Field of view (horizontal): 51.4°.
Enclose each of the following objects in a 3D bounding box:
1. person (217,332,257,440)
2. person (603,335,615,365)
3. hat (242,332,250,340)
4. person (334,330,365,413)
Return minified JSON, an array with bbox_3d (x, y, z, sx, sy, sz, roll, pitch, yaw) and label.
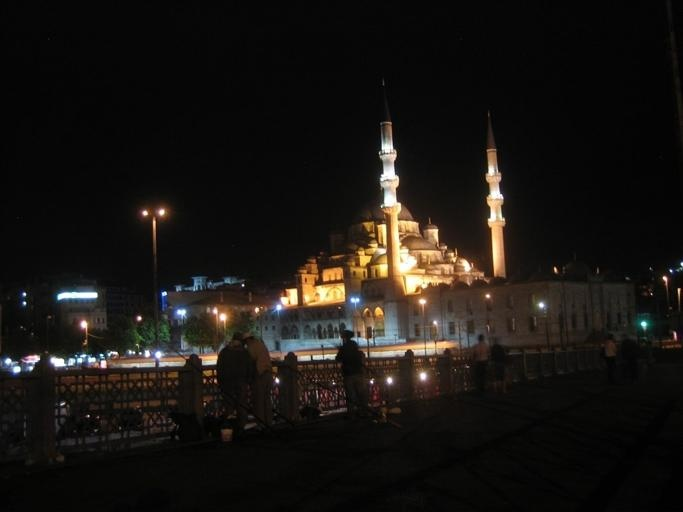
[{"bbox_3d":[-1.918,2.272,12.877,0.706,1.755,1.353,-2,-7,-11],"label":"person"},{"bbox_3d":[8.595,2.971,22.781,0.360,0.919,1.559,-6,-8,20],"label":"person"},{"bbox_3d":[-1.779,1.474,13.322,0.116,0.091,0.124,-8,-18,11],"label":"hat"},{"bbox_3d":[0.174,2.333,14.505,0.559,1.699,1.275,-4,-7,0],"label":"person"}]
